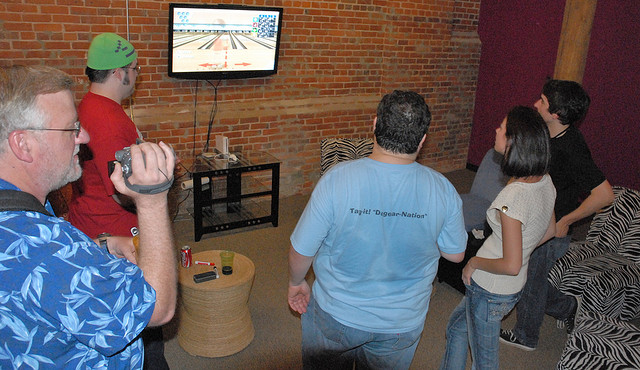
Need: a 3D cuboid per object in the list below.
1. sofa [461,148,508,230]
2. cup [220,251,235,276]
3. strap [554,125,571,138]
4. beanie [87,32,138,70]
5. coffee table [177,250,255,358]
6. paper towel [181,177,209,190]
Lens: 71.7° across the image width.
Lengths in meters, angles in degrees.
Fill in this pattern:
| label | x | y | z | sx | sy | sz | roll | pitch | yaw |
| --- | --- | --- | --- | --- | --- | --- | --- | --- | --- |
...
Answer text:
| label | x | y | z | sx | sy | sz | roll | pitch | yaw |
| --- | --- | --- | --- | --- | --- | --- | --- | --- | --- |
| sofa | 2.029 | 0.018 | 5.463 | 0.514 | 0.822 | 0.974 | 7 | 21 | 21 |
| cup | -0.880 | 0.746 | 4.228 | 0.184 | 0.221 | 0.179 | 2 | 2 | 0 |
| strap | 2.145 | -0.465 | 3.921 | 0.210 | 0.029 | 0.021 | -36 | -7 | 12 |
| beanie | -1.809 | -1.169 | 3.858 | 0.371 | 0.284 | 0.360 | -7 | 20 | -16 |
| coffee table | -0.903 | 1.104 | 4.434 | 0.915 | 0.937 | 0.888 | 6 | 25 | 5 |
| paper towel | -1.629 | -0.009 | 5.789 | 0.267 | 0.100 | 0.175 | -9 | 26 | -4 |
